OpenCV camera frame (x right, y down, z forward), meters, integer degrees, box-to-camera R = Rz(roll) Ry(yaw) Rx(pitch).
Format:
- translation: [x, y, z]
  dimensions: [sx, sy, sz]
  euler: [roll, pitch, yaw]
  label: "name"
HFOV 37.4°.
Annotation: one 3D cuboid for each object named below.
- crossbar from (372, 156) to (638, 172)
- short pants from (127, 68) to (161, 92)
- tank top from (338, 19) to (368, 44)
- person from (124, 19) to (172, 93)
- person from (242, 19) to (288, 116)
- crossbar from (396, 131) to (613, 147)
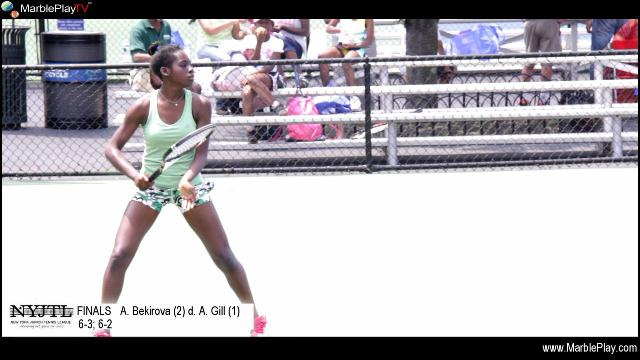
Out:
- translation: [2.875, -0.237, 14.491]
  dimensions: [2.770, 0.237, 0.299]
  euler: [-2, 0, 5]
  label: "crossbar"
- translation: [-2.842, -1.599, 15.071]
  dimensions: [0.342, 0.361, 0.959]
  euler: [-2, 0, -11]
  label: "short pants"
- translation: [0.538, -2.441, 15.771]
  dimensions: [0.588, 0.669, 0.389]
  euler: [0, 3, 2]
  label: "tank top"
- translation: [-2.816, -2.138, 15.166]
  dimensions: [0.690, 1.685, 0.731]
  euler: [1, 0, 18]
  label: "person"
- translation: [-0.890, -1.774, 14.989]
  dimensions: [0.545, 1.546, 0.649]
  euler: [0, 1, -15]
  label: "person"
- translation: [2.904, -0.643, 14.991]
  dimensions: [3.345, 0.237, 0.848]
  euler: [-2, 0, 3]
  label: "crossbar"
